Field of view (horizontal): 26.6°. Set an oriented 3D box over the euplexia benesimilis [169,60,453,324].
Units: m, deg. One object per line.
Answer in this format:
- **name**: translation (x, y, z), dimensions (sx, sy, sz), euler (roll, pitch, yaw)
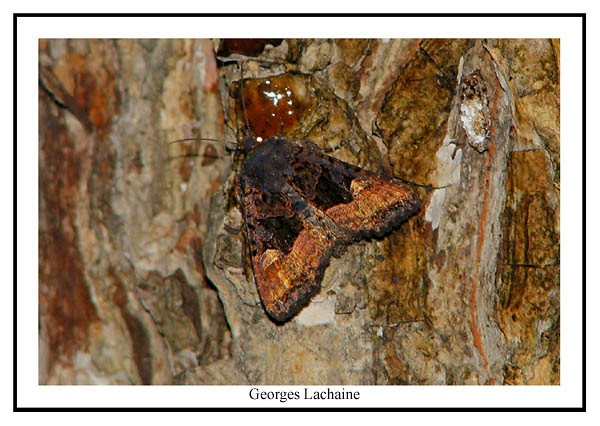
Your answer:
- **euplexia benesimilis**: translation (0.066, -0.173, 12.494), dimensions (1.622, 2.420, 0.606), euler (2, -5, -3)
